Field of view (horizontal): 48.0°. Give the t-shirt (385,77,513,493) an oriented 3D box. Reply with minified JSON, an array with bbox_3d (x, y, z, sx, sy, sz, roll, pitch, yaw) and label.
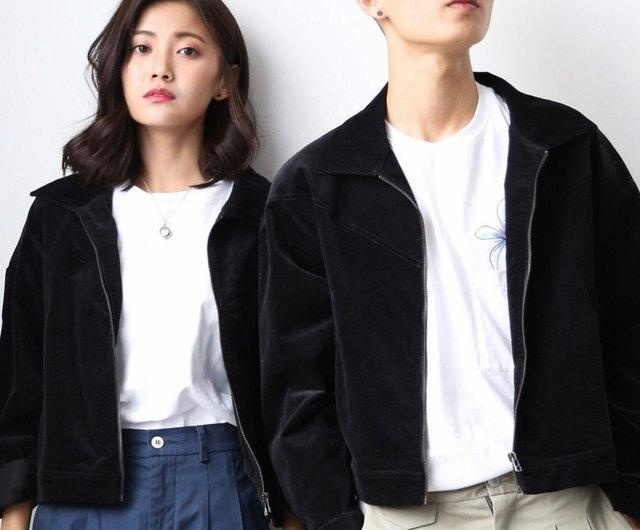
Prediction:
[{"bbox_3d":[0.343,0.035,1.678,0.294,0.917,0.115,-6,-8,5],"label":"t-shirt"}]

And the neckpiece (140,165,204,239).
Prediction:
[{"bbox_3d":[-0.421,-0.171,2.018,0.273,0.269,0.039,2,-49,-6],"label":"neckpiece"}]
